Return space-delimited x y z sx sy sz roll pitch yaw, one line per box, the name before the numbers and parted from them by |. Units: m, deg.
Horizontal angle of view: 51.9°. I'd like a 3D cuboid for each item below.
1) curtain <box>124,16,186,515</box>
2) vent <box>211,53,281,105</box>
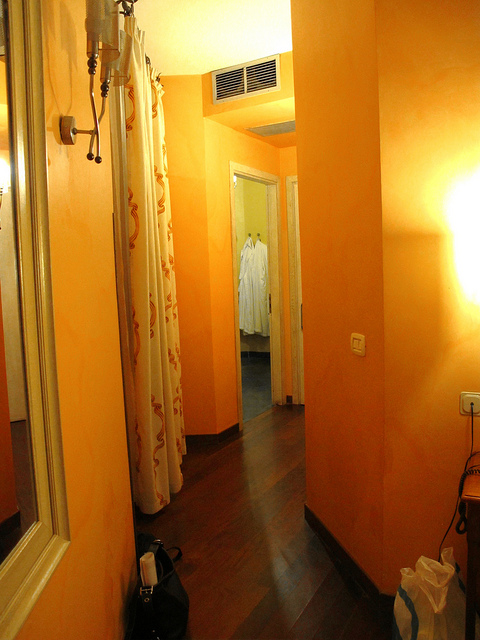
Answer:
curtain | -0.459 -0.303 2.626 0.172 2.679 0.662 -1 4 4
vent | 0.032 -1.561 3.218 0.502 0.223 0.028 1 4 29
